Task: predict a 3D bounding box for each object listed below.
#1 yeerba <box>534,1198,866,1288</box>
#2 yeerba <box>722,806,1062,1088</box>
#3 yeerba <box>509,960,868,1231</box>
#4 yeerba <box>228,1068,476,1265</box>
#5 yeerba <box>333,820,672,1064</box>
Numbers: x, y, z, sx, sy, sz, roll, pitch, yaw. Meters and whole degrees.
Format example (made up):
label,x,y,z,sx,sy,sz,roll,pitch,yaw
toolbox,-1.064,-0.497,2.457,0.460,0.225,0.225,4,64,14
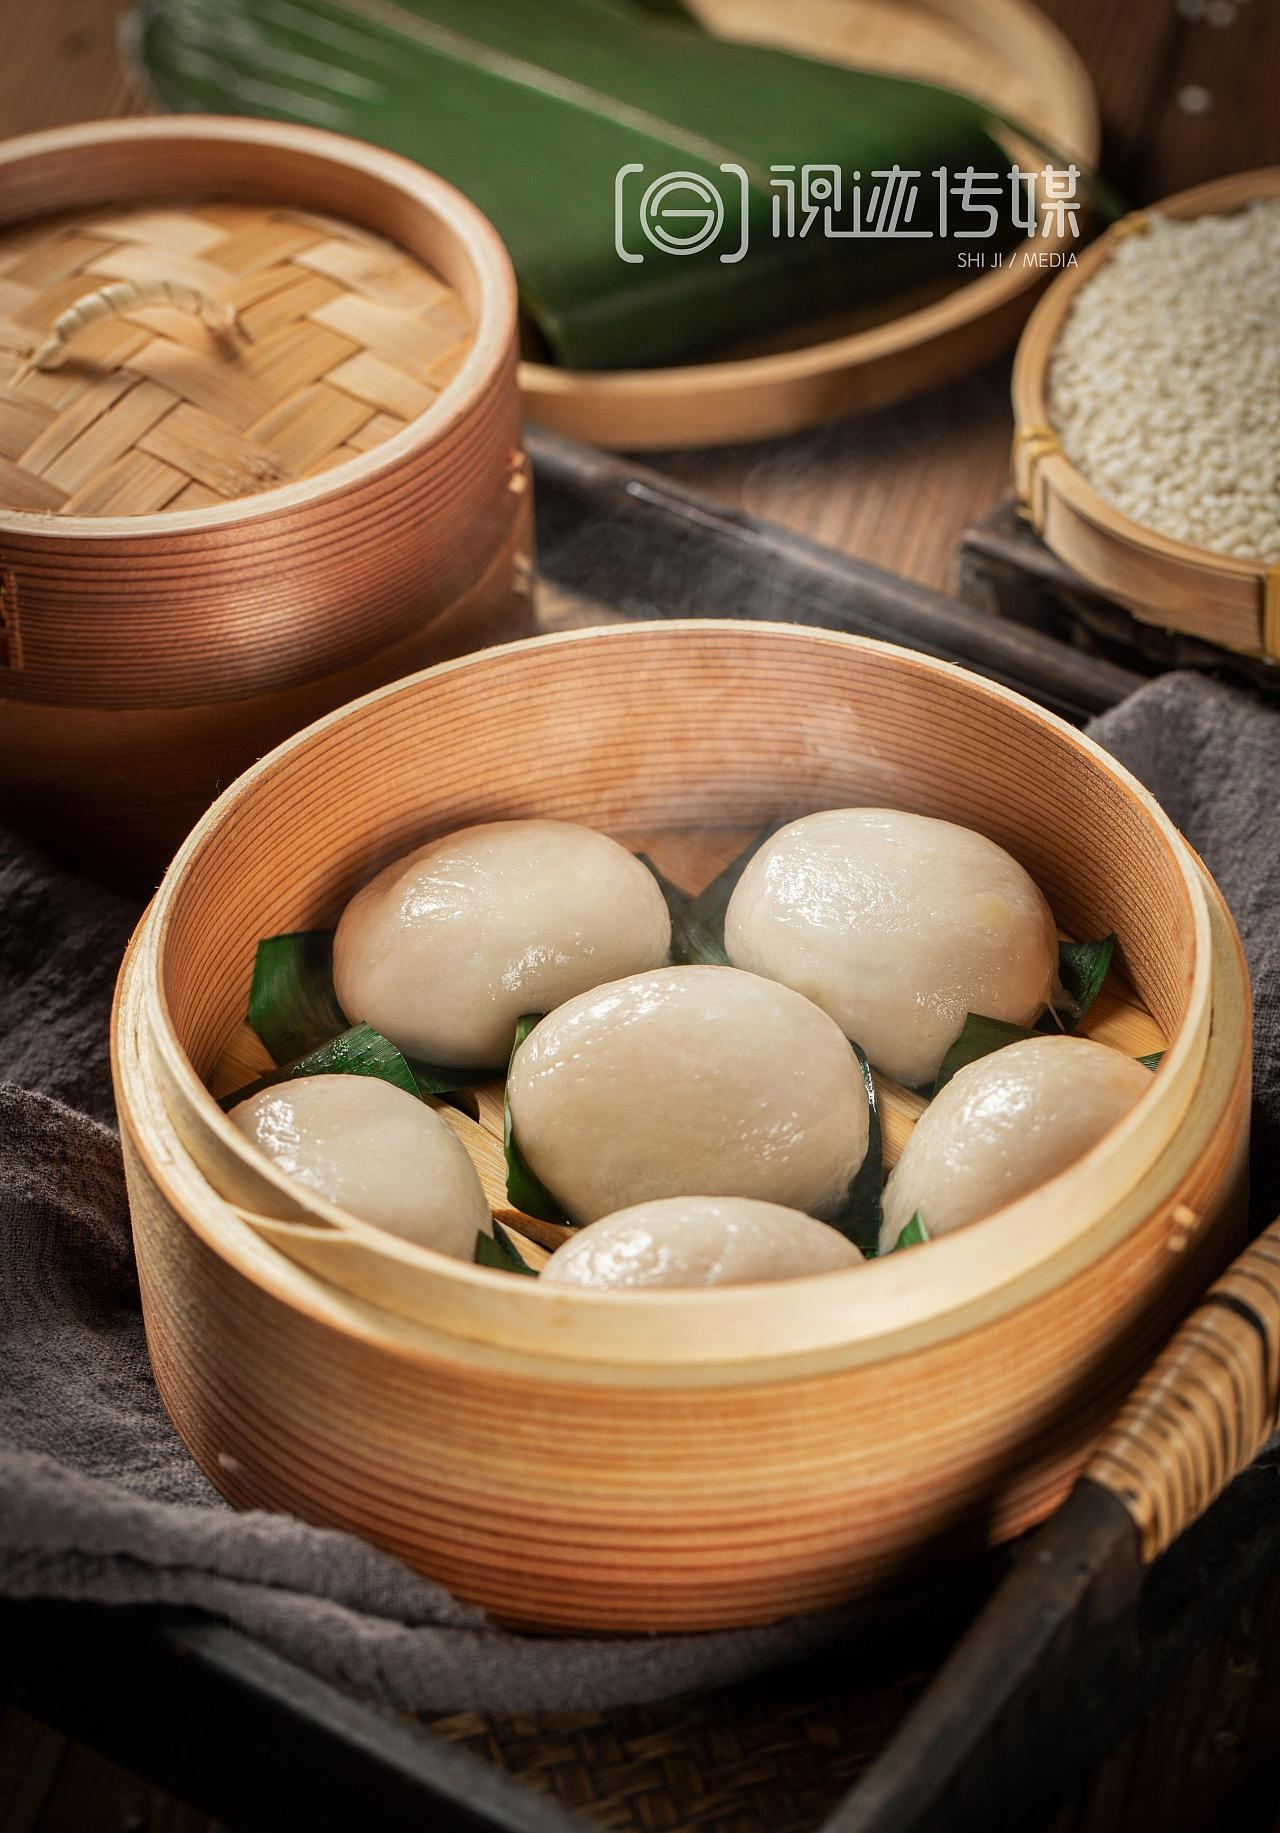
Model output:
label,x,y,z,sx,sy,sz,roll,pitch,yaw
yeerba,0.018,0.100,0.521,0.094,0.023,0.046,4,34,4
yeerba,0.121,-0.001,0.731,0.139,0.096,0.141,-13,23,-29
yeerba,0.020,0.075,0.615,0.110,0.053,0.087,-21,50,-27
yeerba,-0.084,0.074,0.584,0.072,0.038,0.059,34,8,5
yeerba,-0.046,0.004,0.716,0.118,0.061,0.090,-33,52,-24
